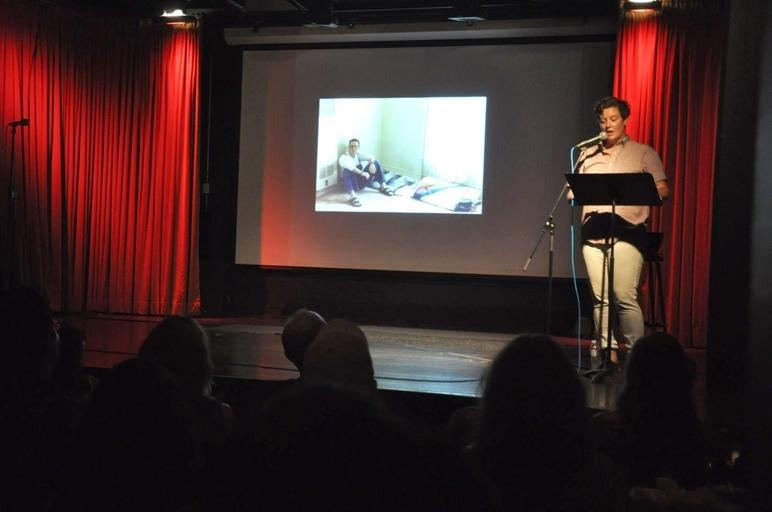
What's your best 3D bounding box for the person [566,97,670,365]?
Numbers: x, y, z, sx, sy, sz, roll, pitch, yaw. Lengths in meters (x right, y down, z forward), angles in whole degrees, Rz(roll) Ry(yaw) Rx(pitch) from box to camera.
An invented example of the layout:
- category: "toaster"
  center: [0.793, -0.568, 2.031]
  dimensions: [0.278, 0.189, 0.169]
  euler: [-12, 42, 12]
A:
- category: "person"
  center: [1.303, -0.140, 3.664]
  dimensions: [0.518, 1.506, 0.758]
  euler: [3, 8, 16]
